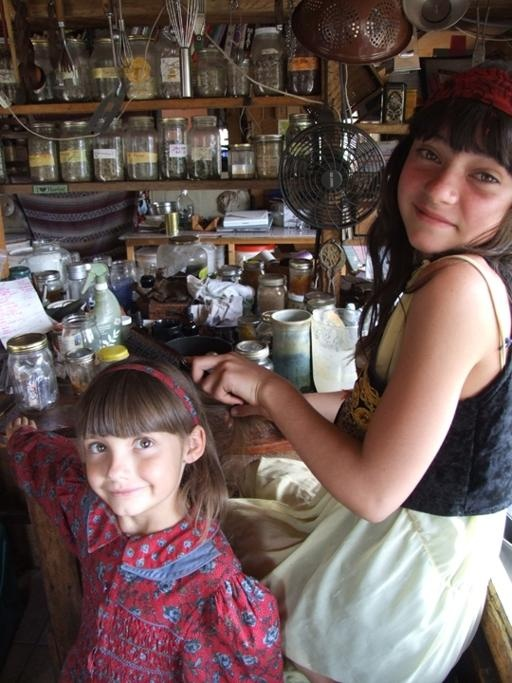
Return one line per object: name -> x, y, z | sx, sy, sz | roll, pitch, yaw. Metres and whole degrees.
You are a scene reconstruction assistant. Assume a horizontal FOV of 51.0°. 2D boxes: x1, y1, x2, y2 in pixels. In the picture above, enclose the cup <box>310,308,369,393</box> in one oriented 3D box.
cup -> 0.219, 0.036, 1.408 | 0.151, 0.218, 0.145 | -2, 25, 1
